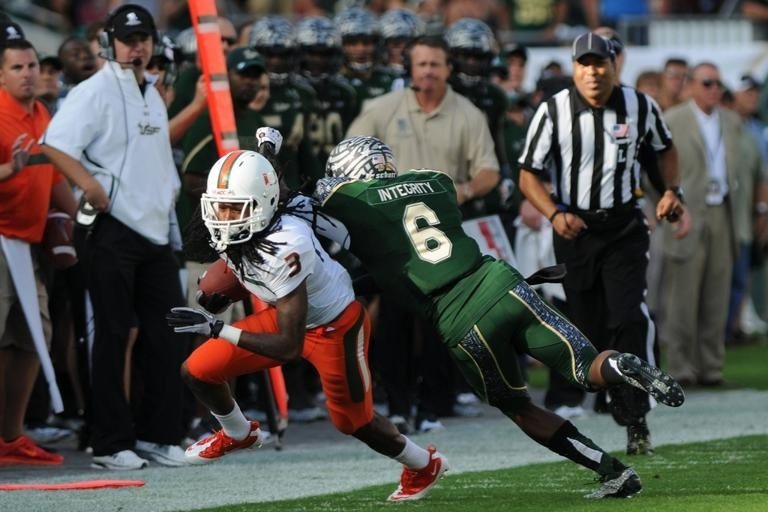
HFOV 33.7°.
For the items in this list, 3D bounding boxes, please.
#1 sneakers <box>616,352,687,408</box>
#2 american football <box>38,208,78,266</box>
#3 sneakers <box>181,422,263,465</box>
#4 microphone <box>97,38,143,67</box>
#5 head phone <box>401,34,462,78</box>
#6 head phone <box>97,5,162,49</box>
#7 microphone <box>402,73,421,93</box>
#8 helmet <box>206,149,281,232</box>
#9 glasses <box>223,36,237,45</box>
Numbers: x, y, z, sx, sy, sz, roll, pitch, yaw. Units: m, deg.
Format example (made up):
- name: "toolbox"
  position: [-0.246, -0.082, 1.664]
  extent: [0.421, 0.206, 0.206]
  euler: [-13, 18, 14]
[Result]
- name: "sneakers"
  position: [1.628, 0.728, 7.887]
  extent: [0.540, 0.220, 0.232]
  euler: [35, 8, 14]
- name: "american football"
  position: [-2.407, -0.133, 9.333]
  extent: [0.208, 0.511, 0.261]
  euler: [3, 1, -21]
- name: "sneakers"
  position: [-1.064, 1.226, 8.340]
  extent: [0.582, 0.259, 0.220]
  euler: [-19, 7, 2]
- name: "microphone"
  position: [-1.918, -1.473, 9.170]
  extent: [0.272, 0.153, 0.214]
  euler: [15, 1, 21]
- name: "head phone"
  position: [0.359, -1.710, 10.473]
  extent: [0.312, 0.433, 0.226]
  euler: [1, 11, -10]
- name: "head phone"
  position: [-1.841, -1.608, 9.190]
  extent: [0.282, 0.363, 0.525]
  euler: [5, 0, -27]
- name: "microphone"
  position: [0.240, -1.449, 10.490]
  extent: [0.125, 0.093, 0.177]
  euler: [10, -11, -21]
- name: "helmet"
  position: [-0.888, -0.430, 8.038]
  extent: [0.378, 0.425, 0.500]
  euler: [1, 17, 28]
- name: "glasses"
  position: [-1.385, -1.925, 11.242]
  extent: [0.073, 0.034, 0.084]
  euler: [-3, -31, -21]
